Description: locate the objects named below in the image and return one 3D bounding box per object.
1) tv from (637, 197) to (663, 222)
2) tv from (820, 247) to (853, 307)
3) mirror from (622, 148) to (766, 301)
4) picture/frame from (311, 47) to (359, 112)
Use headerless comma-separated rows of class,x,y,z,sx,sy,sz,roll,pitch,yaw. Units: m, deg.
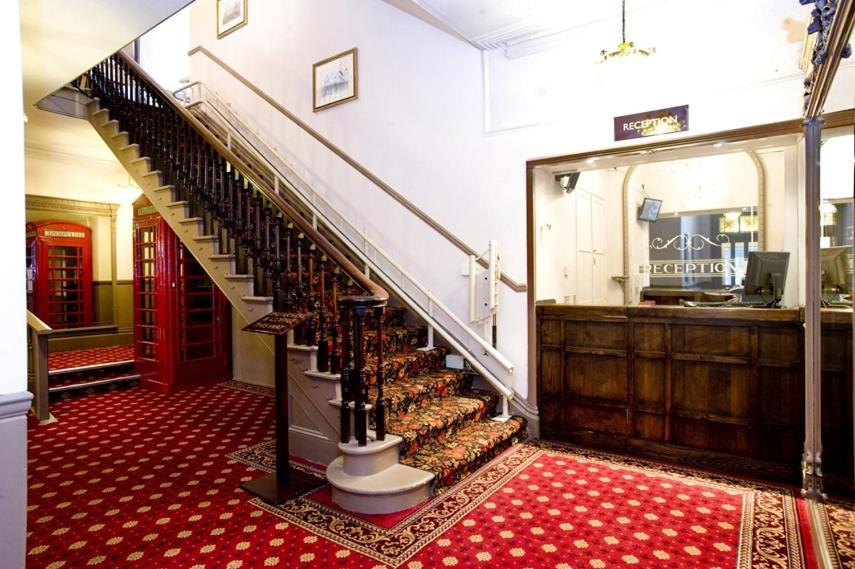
tv,3.579,-1.223,9.560,0.295,0.281,0.153,15,24,-10
tv,3.426,-0.072,4.958,0.169,0.491,0.487,-4,3,9
mirror,3.981,-0.909,8.760,0.113,1.655,2.118,-4,1,-34
picture/frame,-1.256,-2.843,8.256,1.012,0.842,0.043,1,1,36
